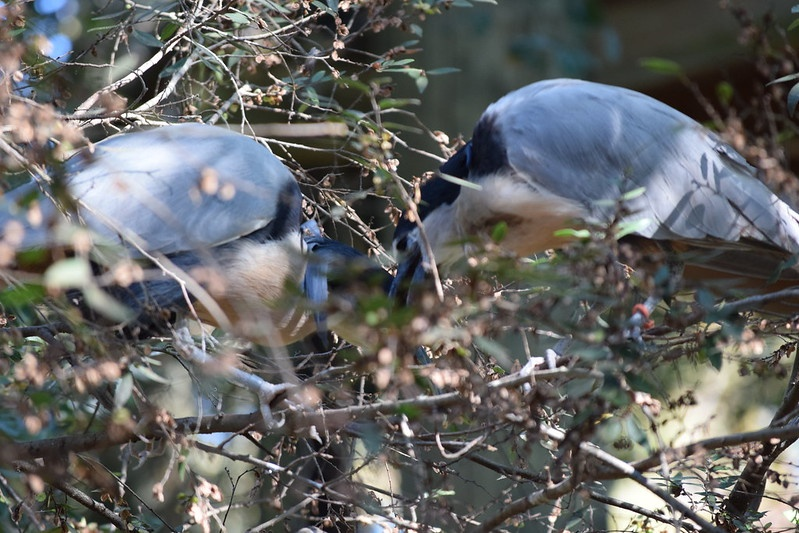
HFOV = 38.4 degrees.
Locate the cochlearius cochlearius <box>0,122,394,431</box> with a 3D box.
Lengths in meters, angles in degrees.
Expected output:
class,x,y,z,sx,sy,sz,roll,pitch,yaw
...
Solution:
class,x,y,z,sx,sy,sz,roll,pitch,yaw
cochlearius cochlearius,-0.635,0.009,4.104,1.019,1.115,1.019,-21,17,-37
